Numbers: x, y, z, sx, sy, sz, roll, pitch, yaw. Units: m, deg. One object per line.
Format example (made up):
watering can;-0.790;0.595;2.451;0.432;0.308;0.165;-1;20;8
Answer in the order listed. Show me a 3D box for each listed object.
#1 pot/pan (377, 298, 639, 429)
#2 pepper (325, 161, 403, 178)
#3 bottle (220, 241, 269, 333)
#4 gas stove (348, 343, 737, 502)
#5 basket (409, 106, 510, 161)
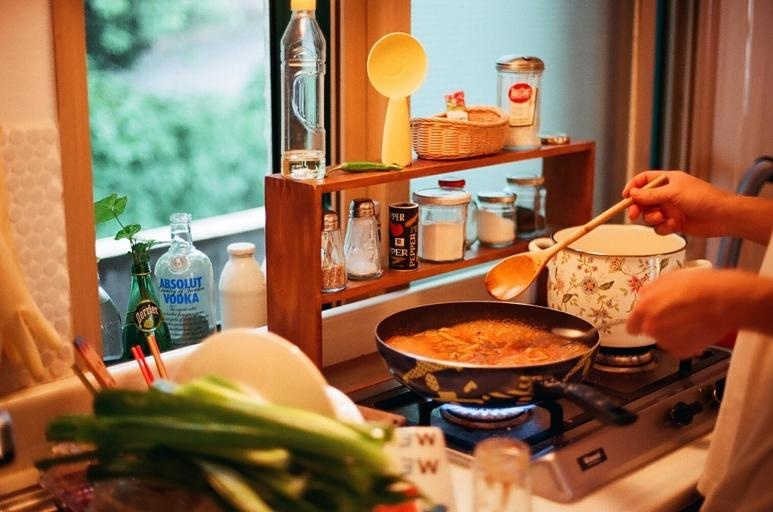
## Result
pot/pan;0.206;0.199;1.265;0.259;0.072;0.380;-9;17;-43
pepper;-0.054;-0.210;1.451;0.178;0.027;0.077;-5;16;-4
bottle;-0.383;0.078;1.612;0.125;0.222;0.129;-4;17;1
gas stove;0.402;0.331;1.266;0.294;0.084;0.427;13;21;39
basket;0.193;-0.297;1.577;0.163;0.080;0.217;15;24;39
